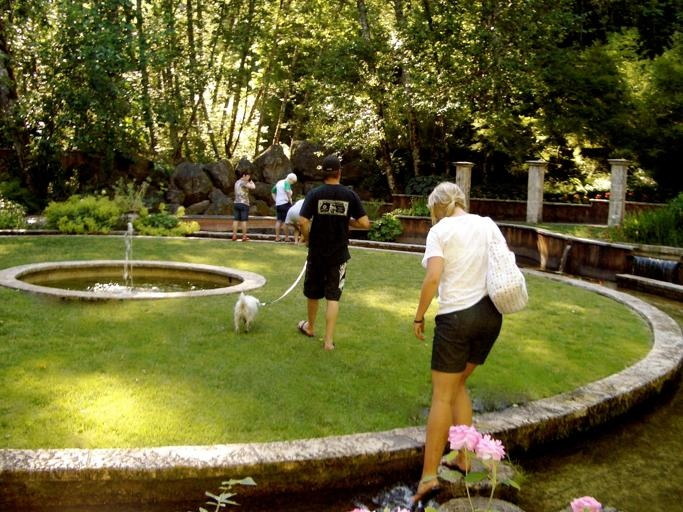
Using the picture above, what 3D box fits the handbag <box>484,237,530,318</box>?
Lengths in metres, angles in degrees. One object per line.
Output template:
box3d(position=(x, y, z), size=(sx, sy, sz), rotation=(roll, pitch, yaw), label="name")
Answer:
box3d(position=(1.177, 0.166, 3.648), size=(0.287, 0.548, 0.304), rotation=(4, 7, 20), label="handbag")

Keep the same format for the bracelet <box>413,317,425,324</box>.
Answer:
box3d(position=(0.584, 0.492, 3.866), size=(0.069, 0.027, 0.053), rotation=(0, 4, -22), label="bracelet")

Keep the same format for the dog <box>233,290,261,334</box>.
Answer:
box3d(position=(-1.160, 0.667, 6.177), size=(0.287, 0.484, 0.437), rotation=(0, 6, -12), label="dog")

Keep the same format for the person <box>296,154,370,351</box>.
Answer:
box3d(position=(-0.125, -0.074, 5.947), size=(0.743, 2.197, 0.678), rotation=(1, 6, -5), label="person")

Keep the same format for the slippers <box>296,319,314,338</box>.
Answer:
box3d(position=(-0.463, 0.882, 6.287), size=(0.105, 0.121, 0.280), rotation=(2, 5, -12), label="slippers")
